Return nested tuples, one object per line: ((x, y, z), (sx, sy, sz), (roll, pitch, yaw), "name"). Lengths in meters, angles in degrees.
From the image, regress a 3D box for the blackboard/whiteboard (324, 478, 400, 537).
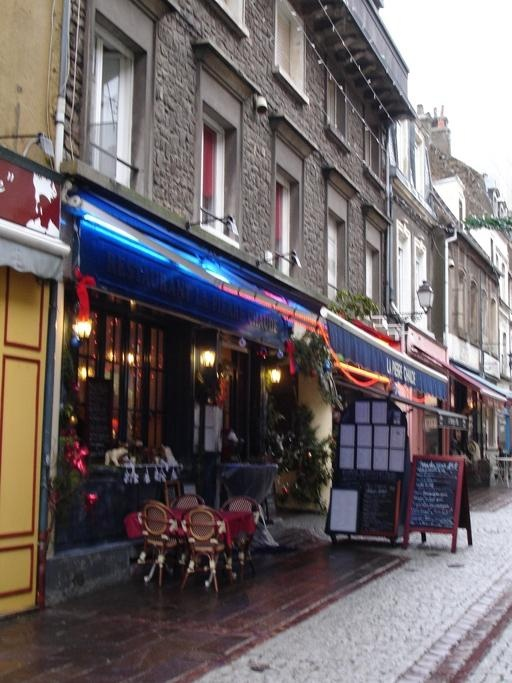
((1.514, 2.359, 10.354), (1.058, 0.823, 0.455), (-4, -7, 19), "blackboard/whiteboard")
